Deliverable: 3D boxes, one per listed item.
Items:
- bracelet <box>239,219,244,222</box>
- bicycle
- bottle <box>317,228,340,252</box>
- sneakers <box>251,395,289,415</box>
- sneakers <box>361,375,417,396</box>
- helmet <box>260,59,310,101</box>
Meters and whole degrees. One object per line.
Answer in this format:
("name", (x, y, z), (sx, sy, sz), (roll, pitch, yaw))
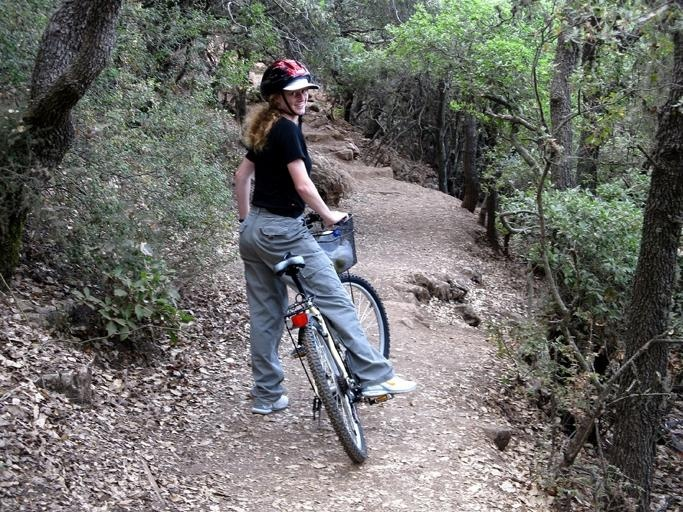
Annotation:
("bracelet", (-0.860, -0.317, 5.396), (0.037, 0.026, 0.036), (1, -1, -26))
("bicycle", (-0.043, 0.609, 5.301), (0.977, 1.874, 1.421), (5, 16, 5))
("bottle", (-0.109, -0.146, 5.319), (0.149, 0.075, 0.206), (-14, 7, 0))
("sneakers", (-0.620, 1.311, 5.651), (0.134, 0.163, 0.368), (11, 13, 43))
("sneakers", (0.389, 1.046, 5.089), (0.430, 0.177, 0.168), (-7, -5, -4))
("helmet", (-0.495, -1.462, 5.135), (0.383, 0.213, 0.271), (-1, 19, 42))
